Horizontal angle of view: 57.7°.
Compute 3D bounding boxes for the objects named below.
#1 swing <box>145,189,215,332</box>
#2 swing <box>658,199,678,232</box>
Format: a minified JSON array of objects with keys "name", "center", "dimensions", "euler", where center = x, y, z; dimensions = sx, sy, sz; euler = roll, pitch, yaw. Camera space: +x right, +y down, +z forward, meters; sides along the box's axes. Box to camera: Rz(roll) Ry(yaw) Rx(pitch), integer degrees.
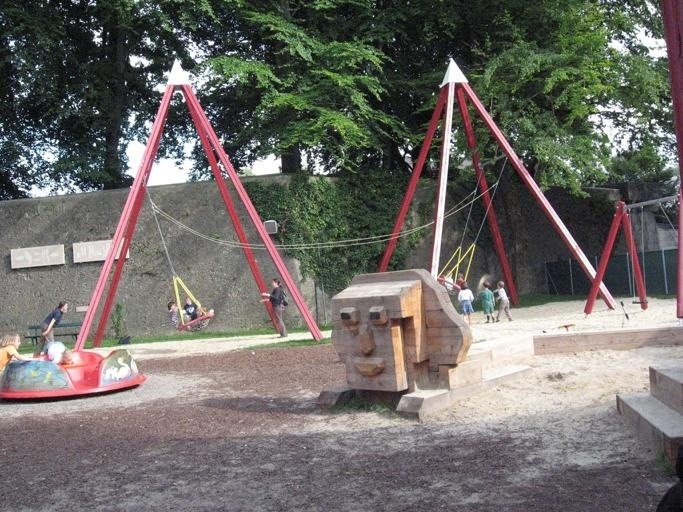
[{"name":"swing","center":[-5.152,0.390,19.022],"dimensions":[1.569,4.171,1.665],"euler":[-17,11,13]},{"name":"swing","center":[20.097,-2.381,38.195],"dimensions":[0.643,2.895,2.747],"euler":[-5,3,25]}]
